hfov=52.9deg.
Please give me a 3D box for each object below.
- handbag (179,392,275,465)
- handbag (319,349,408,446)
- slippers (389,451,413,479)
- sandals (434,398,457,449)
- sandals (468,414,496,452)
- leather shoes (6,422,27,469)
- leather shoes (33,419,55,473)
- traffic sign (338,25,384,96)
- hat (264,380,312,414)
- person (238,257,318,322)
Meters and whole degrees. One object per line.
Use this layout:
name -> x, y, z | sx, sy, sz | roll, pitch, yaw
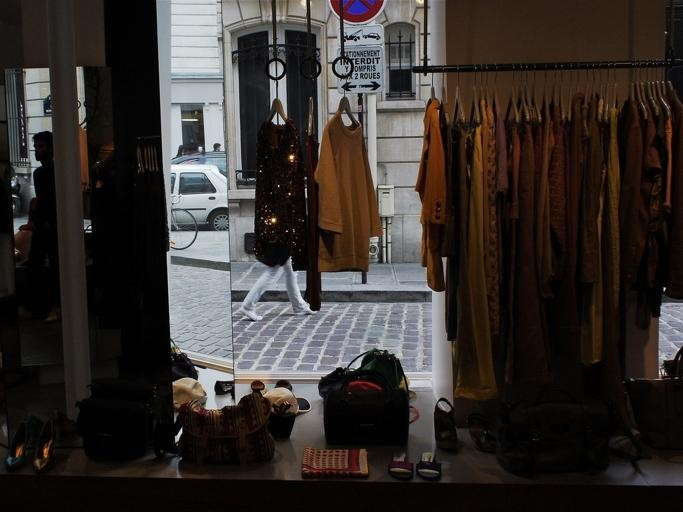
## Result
handbag -> -0.653, 0.951, 3.885 | 0.512, 0.391, 0.297 | -2, 16, -2
handbag -> 0.143, 0.828, 4.197 | 0.460, 0.512, 0.486 | 1, -2, 1
slippers -> 0.324, 1.135, 3.736 | 0.138, 0.048, 0.213 | 1, 12, 3
sandals -> 0.603, 0.984, 4.033 | 0.097, 0.136, 0.321 | -1, 4, 4
sandals -> 0.831, 1.022, 4.051 | 0.137, 0.108, 0.374 | 12, 9, 22
leather shoes -> -1.788, 1.055, 3.832 | 0.079, 0.106, 0.266 | 1, 38, -8
leather shoes -> -1.625, 1.064, 3.758 | 0.105, 0.101, 0.344 | 3, 17, -16
traffic sign -> 0.197, -1.957, 6.839 | 0.455, 0.749, 0.027 | -1, -12, 6
hat -> -0.321, 0.894, 4.477 | 0.234, 0.077, 0.160 | 13, 19, 29
person -> -0.575, 0.303, 6.162 | 0.630, 0.770, 0.189 | -3, 38, -10
